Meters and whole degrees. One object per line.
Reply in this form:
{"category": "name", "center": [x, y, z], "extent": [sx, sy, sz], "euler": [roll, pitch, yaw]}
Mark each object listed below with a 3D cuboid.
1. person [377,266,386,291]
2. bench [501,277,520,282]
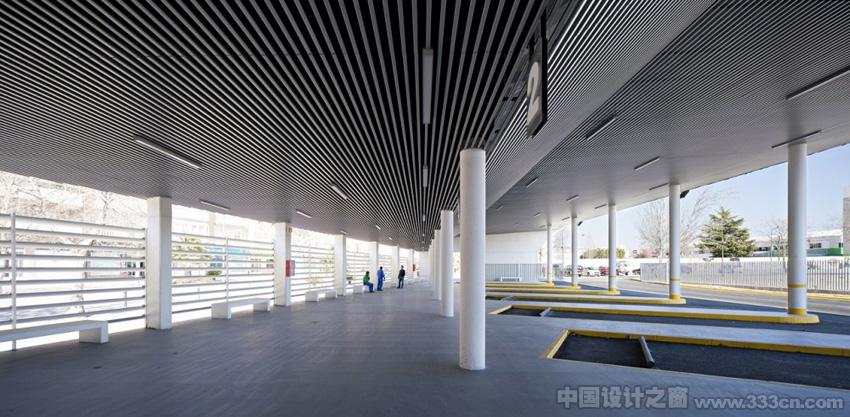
{"category": "person", "center": [-3.179, 4.866, 28.774], "extent": [0.429, 1.664, 0.859], "euler": [-3, 6, -18]}
{"category": "bench", "center": [7.602, 6.368, 37.278], "extent": [1.622, 0.232, 0.618], "euler": [0, 4, 7]}
